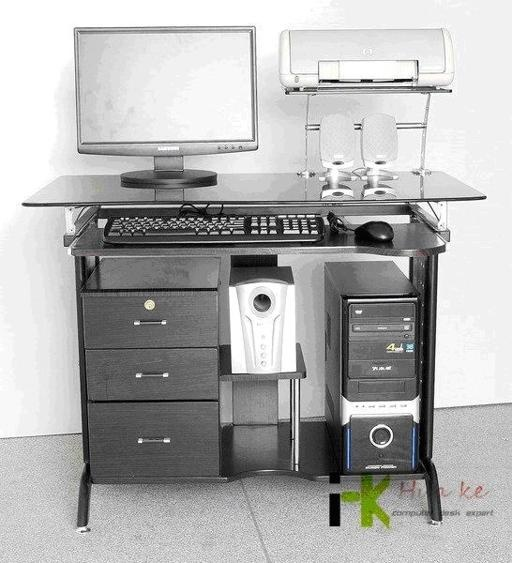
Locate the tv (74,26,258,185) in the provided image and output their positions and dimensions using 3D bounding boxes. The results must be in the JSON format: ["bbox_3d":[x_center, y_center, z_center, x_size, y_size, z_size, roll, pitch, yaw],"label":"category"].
[{"bbox_3d":[-0.275,-0.553,1.880,0.602,0.469,0.232,-1,13,-3],"label":"tv"}]

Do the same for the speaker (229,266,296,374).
[{"bbox_3d":[0.019,0.120,1.867,0.186,0.230,0.322,-1,24,0],"label":"speaker"}]

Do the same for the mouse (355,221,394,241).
[{"bbox_3d":[0.338,-0.145,1.745,0.110,0.052,0.141,-4,13,-13],"label":"mouse"}]

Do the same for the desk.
[{"bbox_3d":[-0.004,0.203,1.916,1.254,0.907,0.554,-1,10,-4],"label":"desk"}]

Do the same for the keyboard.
[{"bbox_3d":[-0.112,-0.140,1.698,0.597,0.066,0.176,-1,13,-2],"label":"keyboard"}]

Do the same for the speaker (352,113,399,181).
[{"bbox_3d":[0.376,-0.418,1.944,0.129,0.198,0.115,-3,11,-5],"label":"speaker"}]

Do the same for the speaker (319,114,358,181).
[{"bbox_3d":[0.254,-0.411,1.926,0.106,0.209,0.113,1,14,7],"label":"speaker"}]
